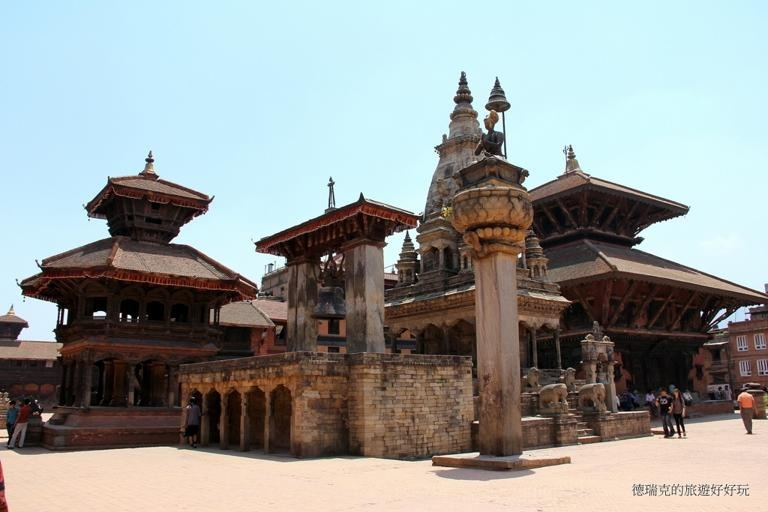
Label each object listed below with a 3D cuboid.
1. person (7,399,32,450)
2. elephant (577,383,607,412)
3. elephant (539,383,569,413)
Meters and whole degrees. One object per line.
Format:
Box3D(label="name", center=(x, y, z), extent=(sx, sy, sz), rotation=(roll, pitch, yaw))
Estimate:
Box3D(label="person", center=(-14.595, 6.603, 26.761), extent=(0.687, 1.923, 1.414), rotation=(7, -19, -28))
Box3D(label="elephant", center=(8.690, 5.878, 27.907), extent=(1.078, 1.188, 0.790), rotation=(-5, -17, 9))
Box3D(label="elephant", center=(6.608, 5.573, 26.276), extent=(1.124, 1.115, 0.628), rotation=(-9, -18, 22))
